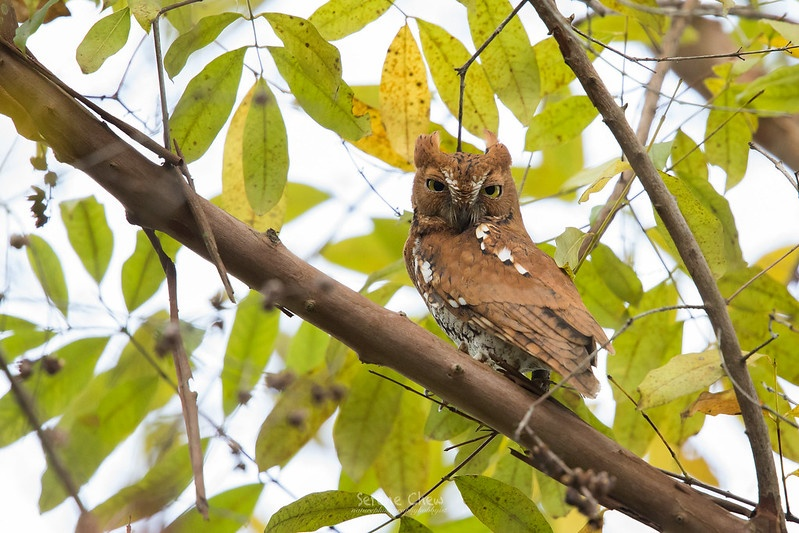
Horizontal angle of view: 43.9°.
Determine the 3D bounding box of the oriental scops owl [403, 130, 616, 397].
[{"bbox_3d":[0.379,0.131,4.783,1.154,1.352,0.819,6,-25,9],"label":"oriental scops owl"}]
